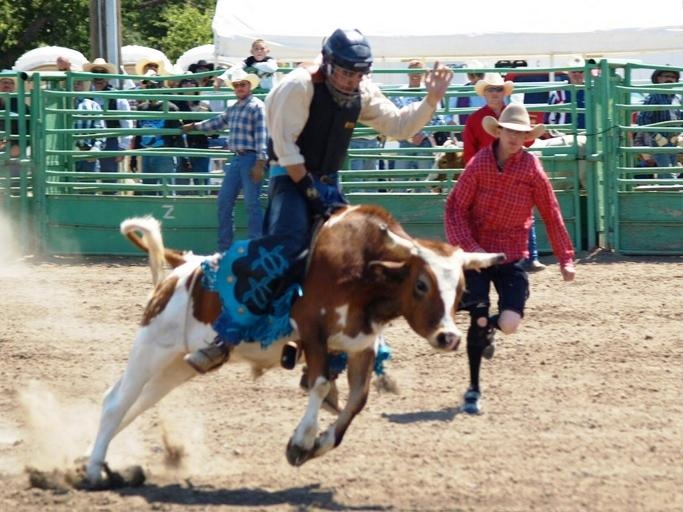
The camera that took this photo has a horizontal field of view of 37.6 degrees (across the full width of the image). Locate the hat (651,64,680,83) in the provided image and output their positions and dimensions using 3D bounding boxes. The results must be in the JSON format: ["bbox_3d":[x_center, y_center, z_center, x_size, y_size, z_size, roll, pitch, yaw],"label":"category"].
[{"bbox_3d":[4.286,-2.409,13.289,0.254,0.254,0.302,5,3,-4],"label":"hat"}]

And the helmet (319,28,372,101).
[{"bbox_3d":[0.040,-1.444,7.598,0.379,0.560,0.249,-1,9,-2],"label":"helmet"}]

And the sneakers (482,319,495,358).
[{"bbox_3d":[1.327,0.760,8.953,0.132,0.284,0.240,3,6,10],"label":"sneakers"}]

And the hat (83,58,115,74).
[{"bbox_3d":[-3.677,-2.960,15.224,0.416,0.146,0.422,0,-11,-11],"label":"hat"}]

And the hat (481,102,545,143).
[{"bbox_3d":[1.476,-1.173,8.753,0.440,0.175,0.438,12,-15,2],"label":"hat"}]

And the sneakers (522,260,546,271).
[{"bbox_3d":[2.060,0.117,10.813,0.154,0.072,0.148,-3,1,-43],"label":"sneakers"}]

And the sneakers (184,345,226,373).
[{"bbox_3d":[-1.007,0.799,7.698,0.305,0.181,0.202,-16,-54,48],"label":"sneakers"}]

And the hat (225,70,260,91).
[{"bbox_3d":[-1.174,-2.137,12.124,0.394,0.121,0.355,-3,-20,1],"label":"hat"}]
